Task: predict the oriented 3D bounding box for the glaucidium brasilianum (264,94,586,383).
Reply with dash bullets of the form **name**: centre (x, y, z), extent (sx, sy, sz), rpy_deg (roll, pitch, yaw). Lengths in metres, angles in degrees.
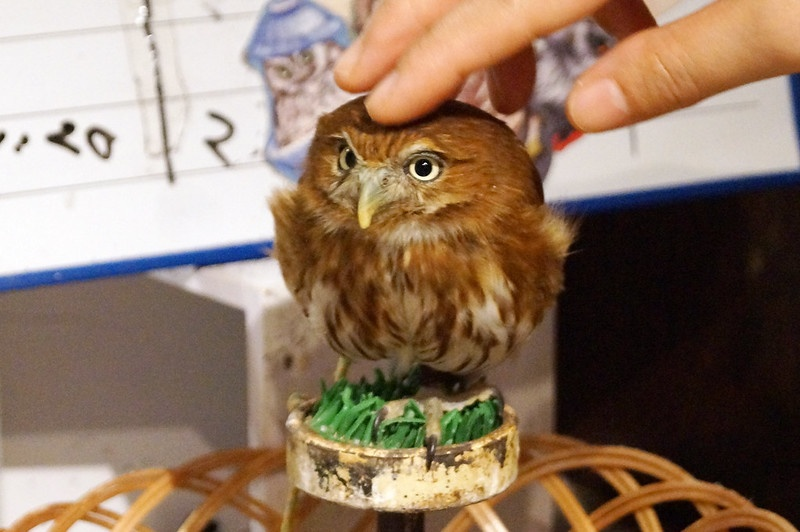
- **glaucidium brasilianum**: centre (0.041, -0.041, 1.355), extent (0.395, 0.491, 0.410), rpy_deg (1, 102, 6)
